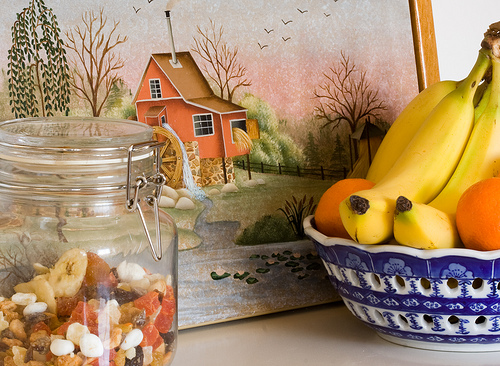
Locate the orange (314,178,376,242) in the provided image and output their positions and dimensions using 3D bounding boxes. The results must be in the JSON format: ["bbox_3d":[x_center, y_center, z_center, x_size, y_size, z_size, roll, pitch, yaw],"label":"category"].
[{"bbox_3d":[0.153,0.037,0.699,0.070,0.080,0.069,-4,1,-32],"label":"orange"}]

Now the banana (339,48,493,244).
[{"bbox_3d":[0.237,-0.051,0.707,0.079,0.312,0.151,31,-20,22],"label":"banana"}]

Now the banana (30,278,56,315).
[{"bbox_3d":[-0.231,0.127,0.543,0.029,0.037,0.009,-12,-6,23],"label":"banana"}]

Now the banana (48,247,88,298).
[{"bbox_3d":[-0.205,0.100,0.560,0.017,0.051,0.070,36,-1,-36],"label":"banana"}]

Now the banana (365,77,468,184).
[{"bbox_3d":[0.253,-0.077,0.736,0.074,0.203,0.047,36,10,-7],"label":"banana"}]
